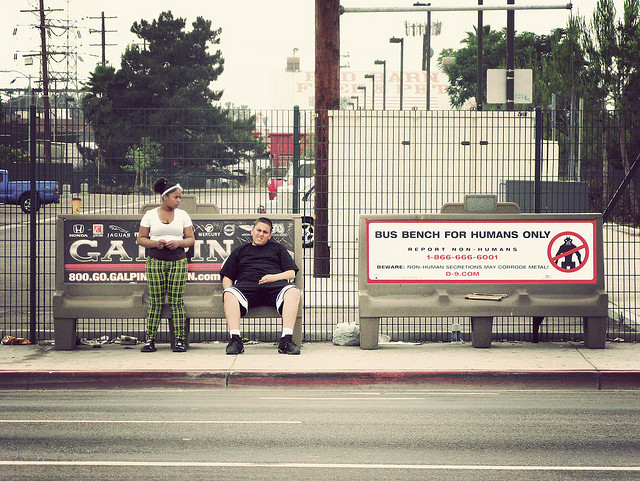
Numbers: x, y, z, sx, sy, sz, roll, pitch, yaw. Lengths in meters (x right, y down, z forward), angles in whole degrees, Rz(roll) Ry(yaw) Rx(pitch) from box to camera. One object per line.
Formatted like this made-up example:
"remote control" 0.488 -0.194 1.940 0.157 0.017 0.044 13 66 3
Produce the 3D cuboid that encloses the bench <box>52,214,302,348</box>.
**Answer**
"bench" -1.782 0.619 13.869 3.787 1.951 0.524 1 3 -1

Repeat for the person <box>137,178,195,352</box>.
"person" -2.101 0.345 13.632 0.779 2.387 0.419 -2 2 -9

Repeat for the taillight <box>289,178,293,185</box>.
"taillight" -0.720 -1.414 23.831 0.133 0.157 0.134 0 0 -27

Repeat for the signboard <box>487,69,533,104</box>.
"signboard" 3.920 -3.189 20.506 0.871 0.652 0.040 0 5 1

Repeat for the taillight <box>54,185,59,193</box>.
"taillight" -3.823 -0.748 14.413 0.036 0.146 0.150 5 5 -7

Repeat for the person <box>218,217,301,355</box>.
"person" -0.826 0.619 13.710 1.101 1.877 0.614 -2 2 -4

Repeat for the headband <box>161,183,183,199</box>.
"headband" -2.023 -0.677 13.559 0.277 0.174 0.266 -2 2 -15

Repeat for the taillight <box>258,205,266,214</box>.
"taillight" -0.891 -0.465 15.099 0.130 0.151 0.089 0 3 3
